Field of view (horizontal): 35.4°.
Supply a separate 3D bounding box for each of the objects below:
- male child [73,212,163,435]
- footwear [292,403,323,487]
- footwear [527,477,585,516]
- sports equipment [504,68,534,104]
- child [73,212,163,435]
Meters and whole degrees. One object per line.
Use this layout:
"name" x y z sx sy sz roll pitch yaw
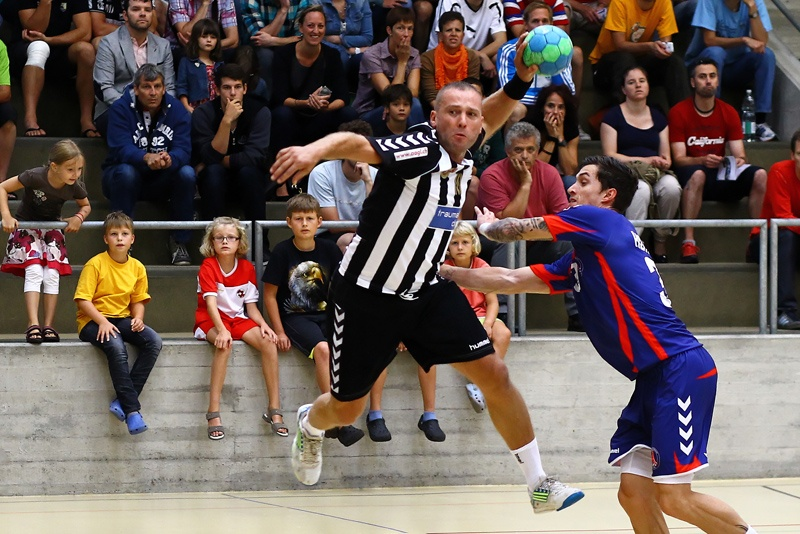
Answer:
"male child" -2.724 0.524 11.964 0.795 2.111 0.477 1 6 22
"footwear" -0.839 1.540 11.071 0.312 0.695 0.331 -5 14 -16
"footwear" 1.298 1.877 10.534 0.268 0.282 0.695 -12 -10 -29
"sports equipment" 0.997 -1.537 10.662 0.217 0.184 0.247 13 18 -4
"child" -2.724 0.524 11.964 0.795 2.111 0.477 1 6 22
